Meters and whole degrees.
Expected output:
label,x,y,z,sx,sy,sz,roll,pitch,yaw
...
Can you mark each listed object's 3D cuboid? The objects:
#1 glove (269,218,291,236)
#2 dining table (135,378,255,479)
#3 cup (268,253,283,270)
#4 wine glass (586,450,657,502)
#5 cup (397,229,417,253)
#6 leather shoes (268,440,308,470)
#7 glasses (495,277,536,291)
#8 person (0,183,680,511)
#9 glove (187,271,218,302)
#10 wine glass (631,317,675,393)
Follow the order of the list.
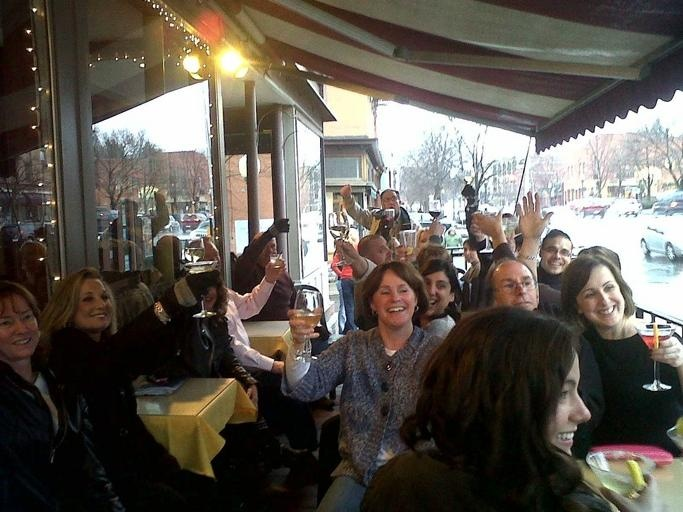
label,x,y,z,sx,sy,sz,roll,pitch,yaw
glove,-0.661,-0.292,5.296,0.216,0.081,0.172,-13,34,20
dining table,-0.942,0.969,3.115,0.692,0.220,0.741,-1,12,-1
cup,-0.585,0.037,4.461,0.128,0.100,0.132,0,-3,0
wine glass,1.049,0.802,1.891,0.214,0.102,0.306,4,8,34
cup,0.460,-0.119,3.703,0.146,0.184,0.142,0,-3,0
leather shoes,-0.433,1.587,3.972,0.279,0.097,0.307,0,-2,10
glasses,1.095,0.160,3.149,0.264,0.078,0.141,0,6,8
person,0.833,0.273,3.660,2.805,1.465,0.989,4,8,38
glove,-0.796,0.163,2.851,0.172,0.166,0.113,-2,6,-15
wine glass,1.664,0.529,2.658,0.163,0.383,0.240,3,7,32
